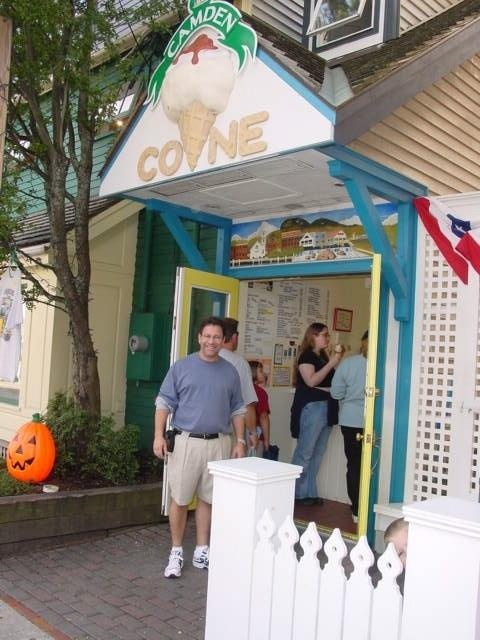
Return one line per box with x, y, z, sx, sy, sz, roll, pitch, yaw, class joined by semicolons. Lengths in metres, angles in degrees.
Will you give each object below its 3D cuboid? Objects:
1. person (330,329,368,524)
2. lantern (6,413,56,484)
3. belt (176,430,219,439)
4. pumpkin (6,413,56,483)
1.256;1.073;5.672;0.569;1.819;0.452;0;-11;36;person
-2.034;1.245;5.400;0.392;0.646;0.504;-2;4;-37;lantern
-0.298;0.860;4.118;0.272;0.050;0.069;1;-5;-5;belt
-2.009;1.252;5.382;0.374;0.653;0.321;-4;-6;36;pumpkin
